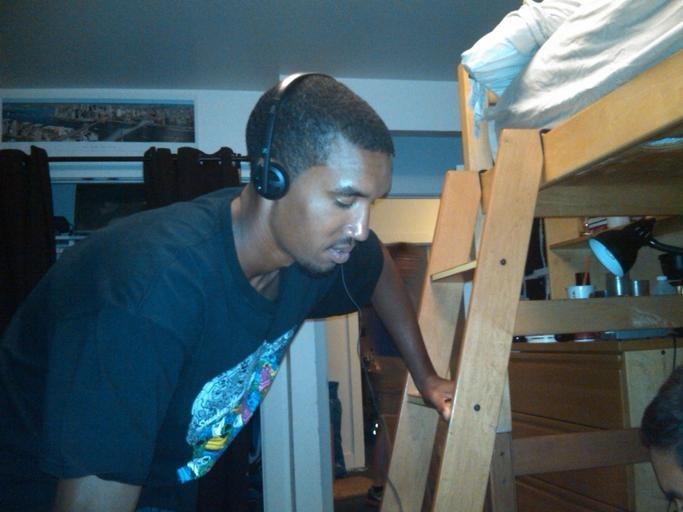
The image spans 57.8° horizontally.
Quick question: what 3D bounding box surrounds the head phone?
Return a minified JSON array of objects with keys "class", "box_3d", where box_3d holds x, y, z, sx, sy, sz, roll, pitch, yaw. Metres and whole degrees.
[{"class":"head phone","box_3d":[-0.157,-0.389,2.077,0.127,0.433,0.411,9,4,30]}]
